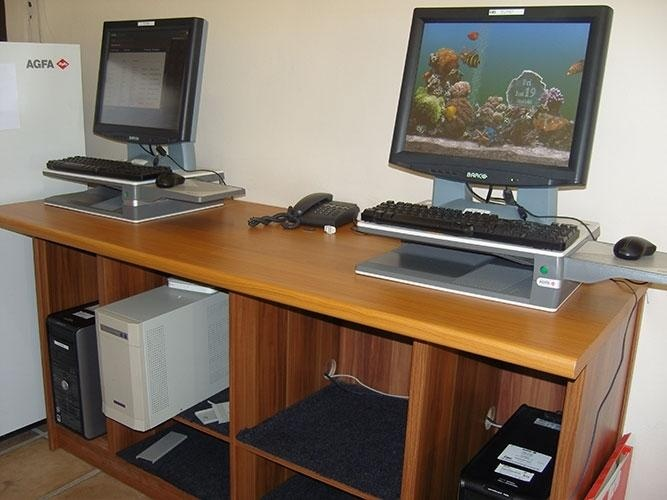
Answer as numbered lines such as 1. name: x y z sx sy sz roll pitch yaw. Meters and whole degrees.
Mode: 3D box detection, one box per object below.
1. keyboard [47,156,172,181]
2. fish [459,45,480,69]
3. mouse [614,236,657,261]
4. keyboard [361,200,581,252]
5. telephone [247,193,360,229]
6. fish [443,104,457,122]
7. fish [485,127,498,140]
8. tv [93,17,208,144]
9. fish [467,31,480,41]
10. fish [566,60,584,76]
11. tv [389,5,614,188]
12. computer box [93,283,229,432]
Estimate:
1. keyboard: -0.877 -0.327 2.146 0.598 0.055 0.247 12 19 26
2. fish: 0.400 -0.557 1.560 0.027 0.077 0.048 -9 -7 -45
3. mouse: 0.813 -0.004 1.404 0.148 0.050 0.060 0 18 -12
4. keyboard: 0.381 -0.079 1.495 0.566 0.050 0.233 12 19 25
5. telephone: -0.068 -0.132 1.960 0.218 0.066 0.217 7 13 31
6. fish: 0.352 -0.408 1.581 0.035 0.035 0.045 30 44 -30
7. fish: 0.457 -0.337 1.535 0.008 0.032 0.034 1 8 -42
8. tv: -0.737 -0.688 2.151 0.635 0.529 0.084 8 3 28
9. fish: 0.408 -0.621 1.542 0.028 0.020 0.018 7 9 16
10. fish: 0.657 -0.491 1.436 0.019 0.052 0.023 43 6 -1
11. tv: 0.496 -0.444 1.527 0.573 0.440 0.113 13 5 24
12. computer box: -0.596 0.368 1.868 0.276 0.419 0.510 12 19 30
